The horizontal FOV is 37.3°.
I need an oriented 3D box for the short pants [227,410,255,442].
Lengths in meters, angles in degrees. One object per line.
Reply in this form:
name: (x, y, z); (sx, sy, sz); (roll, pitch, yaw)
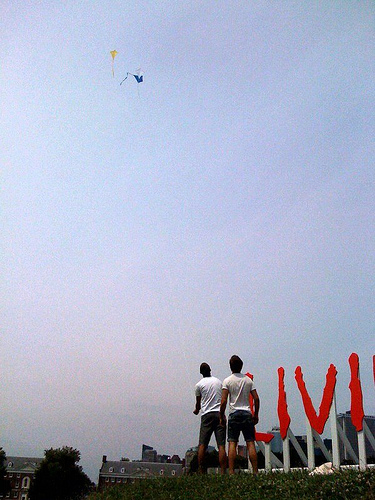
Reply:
short pants: (0.765, 2.686, 8.203); (0.378, 0.628, 0.254); (-5, -54, 5)

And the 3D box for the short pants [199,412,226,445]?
short pants: (0.394, 2.975, 9.022); (0.421, 0.688, 0.293); (-5, -60, 7)
